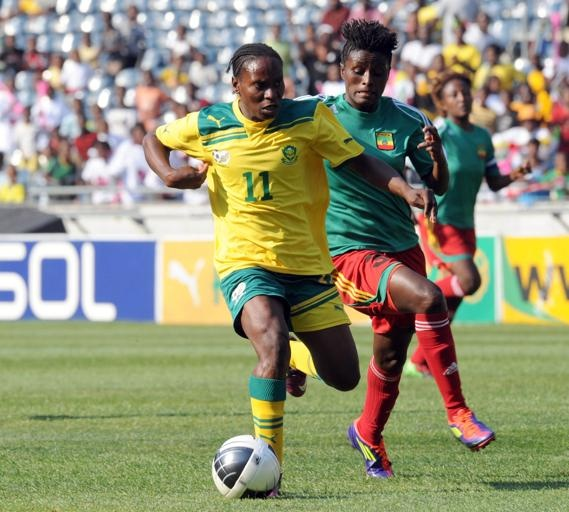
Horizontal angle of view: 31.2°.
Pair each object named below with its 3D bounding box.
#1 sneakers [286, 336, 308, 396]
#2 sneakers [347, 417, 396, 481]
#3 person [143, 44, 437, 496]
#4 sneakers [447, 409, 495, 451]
[{"bbox_3d":[0.071,0.653,6.051,0.128,0.322,0.149,-14,6,-2],"label":"sneakers"},{"bbox_3d":[0.458,1.040,5.446,0.338,0.144,0.122,49,19,30],"label":"sneakers"},{"bbox_3d":[-0.036,0.076,5.147,1.270,1.774,0.732,0,4,-5],"label":"person"},{"bbox_3d":[1.011,0.937,5.578,0.126,0.164,0.340,-45,12,-6],"label":"sneakers"}]
